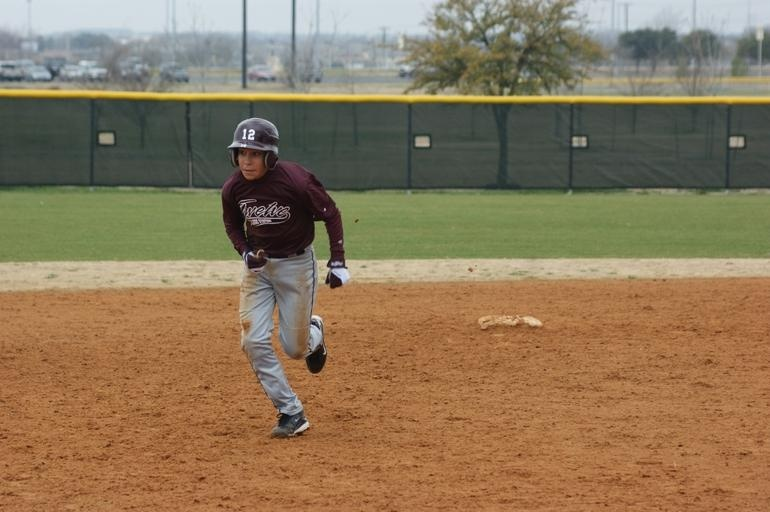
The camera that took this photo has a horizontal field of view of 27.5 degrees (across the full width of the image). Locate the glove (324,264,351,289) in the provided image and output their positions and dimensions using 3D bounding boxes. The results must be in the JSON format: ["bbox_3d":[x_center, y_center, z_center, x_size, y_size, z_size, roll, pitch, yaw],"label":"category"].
[{"bbox_3d":[-0.739,0.314,23.753,0.442,0.348,0.291,0,-7,19],"label":"glove"}]

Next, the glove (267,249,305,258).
[{"bbox_3d":[-1.471,-0.036,23.579,0.552,0.108,0.061,-1,14,-9],"label":"glove"}]

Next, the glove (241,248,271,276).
[{"bbox_3d":[-1.923,0.092,23.478,0.325,0.231,0.352,1,27,-8],"label":"glove"}]
